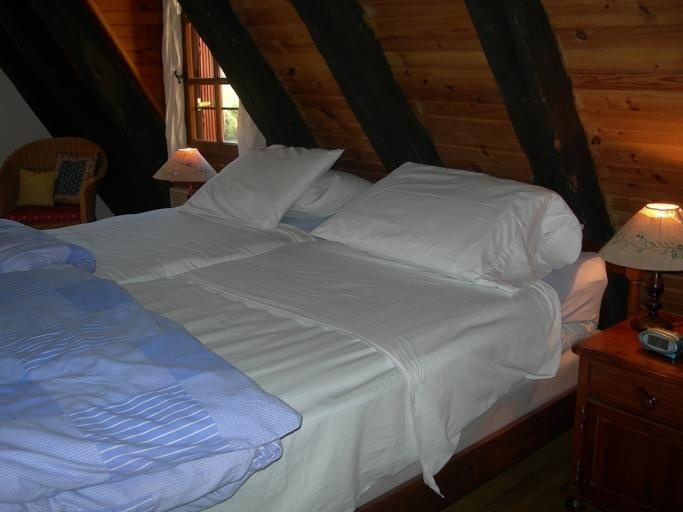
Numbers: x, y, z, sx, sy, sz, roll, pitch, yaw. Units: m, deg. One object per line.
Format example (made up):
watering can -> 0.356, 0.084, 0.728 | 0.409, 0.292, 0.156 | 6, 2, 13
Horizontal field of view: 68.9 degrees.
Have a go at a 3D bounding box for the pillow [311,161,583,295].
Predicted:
pillow -> 0.419, -0.152, 2.154 | 0.828, 0.226, 0.643 | 17, 41, 30

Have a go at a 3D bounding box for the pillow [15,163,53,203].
pillow -> -2.422, -0.559, 3.885 | 0.292, 0.239, 0.085 | -1, -6, 3

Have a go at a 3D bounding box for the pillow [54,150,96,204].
pillow -> -2.147, -0.615, 3.939 | 0.417, 0.350, 0.094 | 2, -1, 14

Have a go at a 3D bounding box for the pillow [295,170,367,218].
pillow -> -0.060, -0.363, 2.887 | 0.289, 0.096, 0.321 | 16, 56, 46
